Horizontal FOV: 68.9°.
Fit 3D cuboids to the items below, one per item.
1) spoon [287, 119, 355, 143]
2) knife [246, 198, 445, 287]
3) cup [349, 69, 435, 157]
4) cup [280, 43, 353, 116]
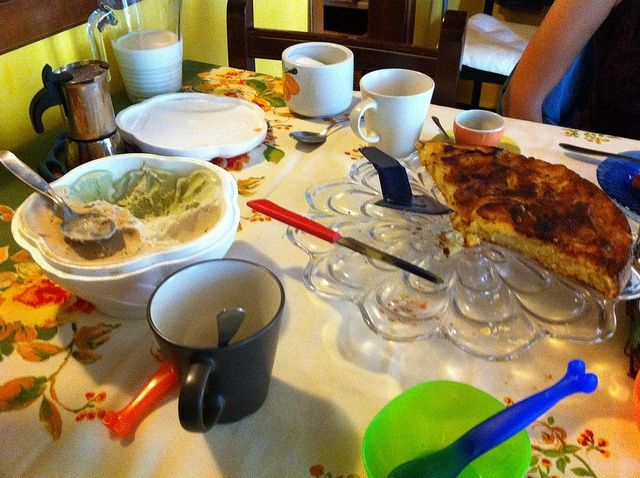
[{"bbox_3d":[-0.009,-0.209,0.936,0.043,0.025,0.141,26,39,34],"label":"spoon"},{"bbox_3d":[0.042,0.010,0.697,0.243,0.014,0.029,28,44,21],"label":"knife"},{"bbox_3d":[0.140,-0.239,0.931,0.130,0.138,0.193,23,51,27],"label":"cup"},{"bbox_3d":[-0.002,-0.312,0.945,0.141,0.122,0.151,0,34,0],"label":"cup"}]
